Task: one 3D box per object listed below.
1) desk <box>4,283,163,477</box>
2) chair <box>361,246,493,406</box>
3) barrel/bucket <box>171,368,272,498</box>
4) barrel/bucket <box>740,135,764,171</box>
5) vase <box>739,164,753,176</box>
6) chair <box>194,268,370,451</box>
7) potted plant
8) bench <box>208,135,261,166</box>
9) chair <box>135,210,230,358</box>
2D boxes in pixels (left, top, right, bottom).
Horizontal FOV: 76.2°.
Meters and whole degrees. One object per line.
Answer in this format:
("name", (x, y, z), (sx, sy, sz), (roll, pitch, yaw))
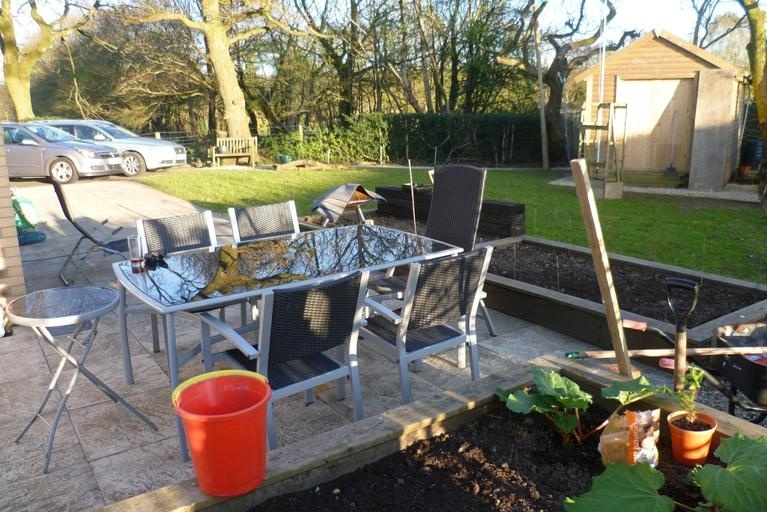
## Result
("desk", (-2.352, 0.667, 3.556), (0.756, 0.899, 1.654), (-14, 21, -37))
("chair", (0.309, 0.448, 3.597), (0.864, 1.033, 0.454), (-10, 18, -28))
("barrel/bucket", (-0.739, 0.857, 2.314), (0.443, 0.416, 0.456), (-1, 6, 0))
("barrel/bucket", (10.836, -3.047, 14.376), (0.480, 0.910, 0.513), (-1, 16, 0))
("vase", (10.363, -2.451, 13.964), (0.356, 0.350, 0.349), (-8, 17, -23))
("chair", (-0.687, 0.637, 3.309), (0.881, 1.188, 0.810), (-9, 19, -39))
("potted plant", (1.545, 0.788, 2.421), (0.202, 0.405, 0.331), (11, 20, 36))
("bench", (-6.278, -4.374, 20.444), (1.836, 1.271, 0.719), (-5, 17, -20))
("chair", (-1.803, 0.250, 4.601), (0.637, 1.072, 0.776), (-9, 53, -19))
